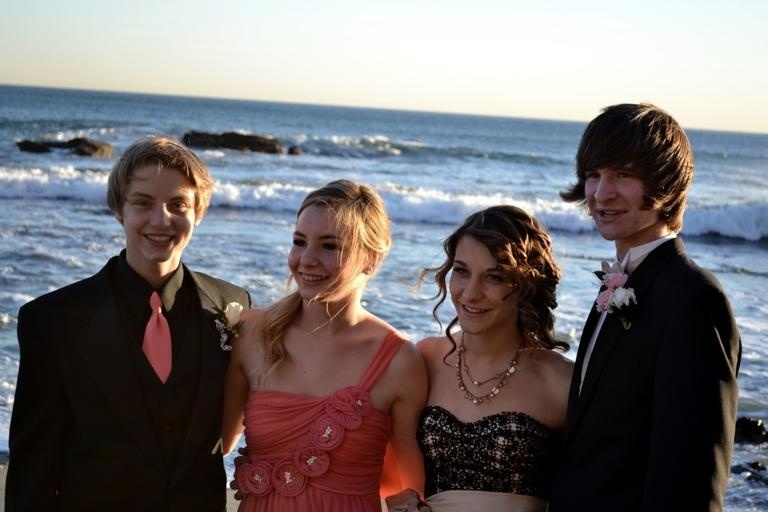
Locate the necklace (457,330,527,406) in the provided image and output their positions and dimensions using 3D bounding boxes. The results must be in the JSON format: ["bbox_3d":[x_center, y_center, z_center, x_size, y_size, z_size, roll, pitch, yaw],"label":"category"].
[{"bbox_3d":[0.838,0.929,7.227,0.356,0.552,0.080,-3,-20,20],"label":"necklace"}]
